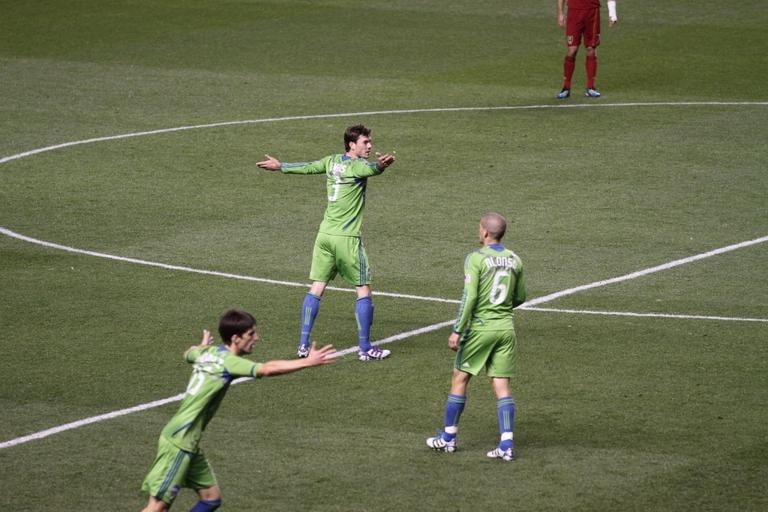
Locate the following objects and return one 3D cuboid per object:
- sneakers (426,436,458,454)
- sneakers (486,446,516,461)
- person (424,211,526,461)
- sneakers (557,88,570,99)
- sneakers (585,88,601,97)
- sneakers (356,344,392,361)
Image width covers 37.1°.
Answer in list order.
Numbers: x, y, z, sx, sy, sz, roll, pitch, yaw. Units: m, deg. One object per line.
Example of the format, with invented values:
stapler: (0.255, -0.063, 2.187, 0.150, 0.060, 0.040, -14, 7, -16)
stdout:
sneakers: (0.703, 2.249, 13.811, 0.430, 0.196, 0.149, 11, 7, 13)
sneakers: (1.395, 2.340, 13.581, 0.397, 0.158, 0.132, 7, 11, 28)
person: (1.123, 0.924, 13.727, 1.072, 2.817, 1.047, 4, 15, 4)
sneakers: (3.908, -3.550, 24.888, 0.141, 0.135, 0.361, 7, 6, 40)
sneakers: (4.531, -3.558, 24.828, 0.147, 0.156, 0.379, -4, 5, -39)
sneakers: (-0.162, 1.297, 15.495, 0.491, 0.199, 0.174, -3, 13, -4)
